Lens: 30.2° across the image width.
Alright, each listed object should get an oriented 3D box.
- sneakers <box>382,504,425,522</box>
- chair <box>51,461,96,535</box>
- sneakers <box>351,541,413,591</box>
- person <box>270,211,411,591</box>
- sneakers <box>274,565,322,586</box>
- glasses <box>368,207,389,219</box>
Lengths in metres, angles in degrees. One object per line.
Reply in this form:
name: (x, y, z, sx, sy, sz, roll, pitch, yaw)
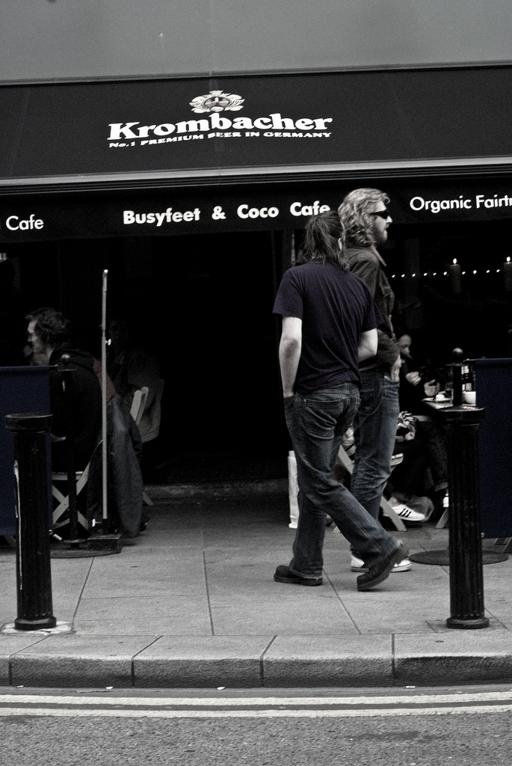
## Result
sneakers: (1.160, 1.018, 7.463, 0.318, 0.125, 0.128, 1, 5, -3)
chair: (-1.448, 0.886, 7.349, 0.341, 0.411, 0.256, -11, 26, -8)
sneakers: (0.692, 1.015, 5.249, 0.345, 0.155, 0.114, -36, 18, 26)
person: (0.449, 0.088, 5.235, 0.649, 2.092, 0.525, -2, 4, 3)
sneakers: (0.250, 1.107, 5.434, 0.107, 0.093, 0.247, -5, 9, -42)
glasses: (0.739, -1.019, 5.669, 0.125, 0.035, 0.096, 3, 2, 2)
